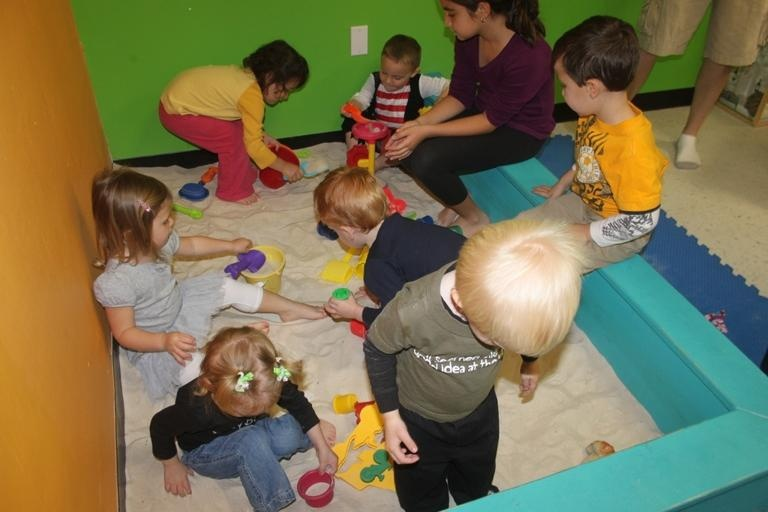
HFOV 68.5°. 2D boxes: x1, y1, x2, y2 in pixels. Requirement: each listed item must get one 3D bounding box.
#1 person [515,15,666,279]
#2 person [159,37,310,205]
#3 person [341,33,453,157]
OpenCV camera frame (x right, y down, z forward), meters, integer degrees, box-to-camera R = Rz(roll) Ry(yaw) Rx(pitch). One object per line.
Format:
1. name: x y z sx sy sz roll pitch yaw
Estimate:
1. person: 1.054 -0.545 2.751 0.472 0.984 0.760 -14 42 -18
2. person: -1.018 -0.944 3.845 1.008 1.029 0.640 5 25 -11
3. person: 0.052 -1.084 3.943 0.802 0.815 0.517 -16 53 -15
